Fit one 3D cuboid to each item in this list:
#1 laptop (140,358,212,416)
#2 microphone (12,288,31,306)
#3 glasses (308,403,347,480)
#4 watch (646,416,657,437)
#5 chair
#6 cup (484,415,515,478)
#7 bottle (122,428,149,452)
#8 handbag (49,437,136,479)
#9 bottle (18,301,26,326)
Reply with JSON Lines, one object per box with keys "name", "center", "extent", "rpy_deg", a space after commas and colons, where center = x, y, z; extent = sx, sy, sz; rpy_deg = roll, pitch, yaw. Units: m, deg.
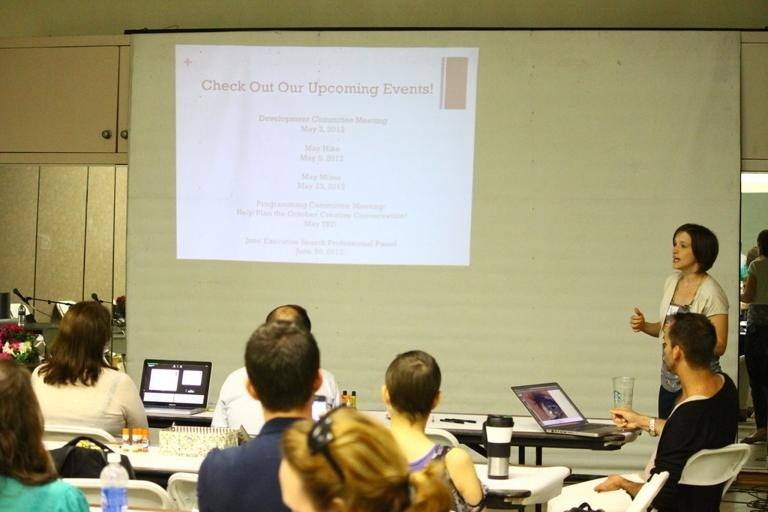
{"name": "laptop", "center": [-1.611, 1.075, 5.991], "extent": [0.608, 0.354, 0.462], "rpy_deg": [3, -26, 11]}
{"name": "microphone", "center": [-3.758, 0.405, 7.735], "extent": [0.167, 0.162, 0.107], "rpy_deg": [0, 0, -26]}
{"name": "glasses", "center": [-0.239, 0.724, 2.928], "extent": [0.059, 0.213, 0.217], "rpy_deg": [-8, -44, 11]}
{"name": "watch", "center": [1.778, 1.139, 5.011], "extent": [0.069, 0.111, 0.112], "rpy_deg": [0, -1, 9]}
{"name": "chair", "center": [2.007, 1.306, 4.807], "extent": [0.418, 0.552, 0.436], "rpy_deg": [-1, 6, -19]}
{"name": "cup", "center": [0.706, 1.158, 4.578], "extent": [0.148, 0.390, 0.190], "rpy_deg": [0, 0, 5]}
{"name": "bottle", "center": [-1.626, 1.178, 4.858], "extent": [0.156, 0.143, 0.153], "rpy_deg": [0, -1, 7]}
{"name": "handbag", "center": [-1.683, 1.131, 4.232], "extent": [0.283, 0.261, 0.206], "rpy_deg": [-1, -19, -15]}
{"name": "bottle", "center": [-3.716, 0.578, 7.632], "extent": [0.072, 0.203, 0.208], "rpy_deg": [0, 0, -27]}
